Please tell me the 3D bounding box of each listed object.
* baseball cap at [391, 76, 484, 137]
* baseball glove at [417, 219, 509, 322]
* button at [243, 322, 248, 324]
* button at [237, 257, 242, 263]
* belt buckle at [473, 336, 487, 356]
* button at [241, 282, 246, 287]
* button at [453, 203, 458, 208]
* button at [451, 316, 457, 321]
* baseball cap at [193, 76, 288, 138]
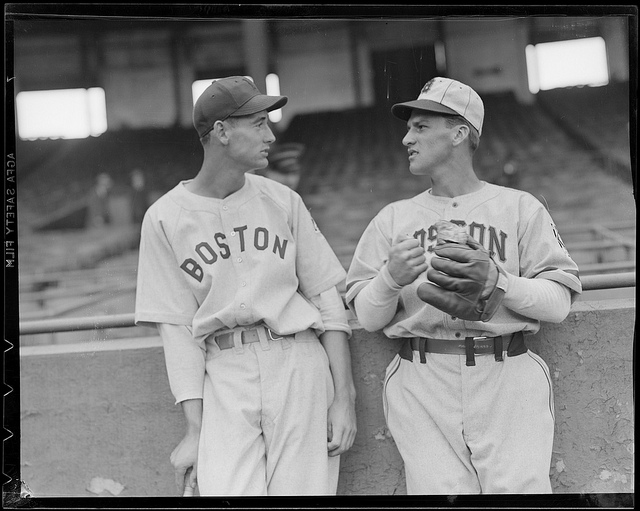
[{"bbox_3d":[0.602,-0.746,7.297,0.381,0.204,0.283,23,4,-6],"label":"baseball cap"},{"bbox_3d":[0.648,0.078,7.011,0.476,0.357,0.249,35,13,30],"label":"baseball glove"},{"bbox_3d":[-0.364,0.342,7.178,0.024,0.013,0.023,-1,5,6],"label":"button"},{"bbox_3d":[-0.397,0.027,7.216,0.022,0.024,0.005,0,-10,-3],"label":"button"},{"bbox_3d":[0.798,0.460,7.153,0.083,0.088,0.022,-1,-1,-4],"label":"belt buckle"},{"bbox_3d":[-0.374,0.147,7.180,0.018,0.019,0.007,-7,-13,12],"label":"button"},{"bbox_3d":[0.691,-0.253,7.297,0.023,0.024,0.008,0,0,4],"label":"button"},{"bbox_3d":[0.665,0.313,7.099,0.021,0.007,0.022,5,-27,-2],"label":"button"},{"bbox_3d":[-0.399,-0.762,7.376,0.403,0.229,0.271,-28,4,11],"label":"baseball cap"}]
